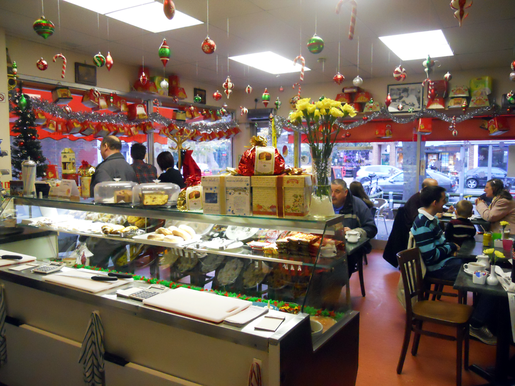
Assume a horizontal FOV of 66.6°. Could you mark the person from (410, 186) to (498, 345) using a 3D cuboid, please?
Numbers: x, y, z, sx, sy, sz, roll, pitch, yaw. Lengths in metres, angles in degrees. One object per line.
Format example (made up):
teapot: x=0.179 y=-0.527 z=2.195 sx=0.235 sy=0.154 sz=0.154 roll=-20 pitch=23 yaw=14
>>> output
person: x=2.215 y=0.725 z=4.437 sx=0.849 sy=1.603 sz=0.631 roll=1 pitch=9 yaw=30

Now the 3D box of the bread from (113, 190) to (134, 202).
bread: x=-1.144 y=0.025 z=3.339 sx=0.108 sy=0.081 sz=0.107 roll=2 pitch=4 yaw=-7

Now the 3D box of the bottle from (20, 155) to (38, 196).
bottle: x=-2.379 y=-0.176 z=4.065 sx=0.137 sy=0.342 sz=0.525 roll=-5 pitch=13 yaw=-30

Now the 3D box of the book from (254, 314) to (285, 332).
book: x=0.074 y=0.830 z=2.505 sx=0.171 sy=0.033 sz=0.168 roll=5 pitch=12 yaw=16

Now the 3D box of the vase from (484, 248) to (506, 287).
vase: x=2.105 y=0.666 z=3.500 sx=0.151 sy=0.302 sz=0.128 roll=4 pitch=-17 yaw=25

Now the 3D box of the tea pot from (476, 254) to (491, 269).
tea pot: x=2.189 y=0.658 z=3.795 sx=0.150 sy=0.150 sz=0.113 roll=3 pitch=1 yaw=29

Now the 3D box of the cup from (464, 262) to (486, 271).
cup: x=2.013 y=0.674 z=3.613 sx=0.124 sy=0.052 sz=0.101 roll=-4 pitch=2 yaw=13

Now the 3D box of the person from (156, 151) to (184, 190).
person: x=-1.300 y=-0.360 z=5.843 sx=0.372 sy=0.492 sz=0.737 roll=-1 pitch=12 yaw=-14

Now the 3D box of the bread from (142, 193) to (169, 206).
bread: x=-0.829 y=0.043 z=3.161 sx=0.145 sy=0.049 sz=0.108 roll=4 pitch=3 yaw=21

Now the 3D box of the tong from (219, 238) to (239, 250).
tong: x=-0.224 y=0.386 z=2.948 sx=0.124 sy=0.072 sz=0.029 roll=-3 pitch=-23 yaw=19

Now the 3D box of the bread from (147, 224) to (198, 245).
bread: x=-0.674 y=0.329 z=3.135 sx=0.239 sy=0.073 sz=0.203 roll=1 pitch=1 yaw=43

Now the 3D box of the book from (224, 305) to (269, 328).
book: x=-0.067 y=0.803 z=2.581 sx=0.108 sy=0.028 sz=0.197 roll=8 pitch=12 yaw=32

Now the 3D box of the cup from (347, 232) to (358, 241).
cup: x=1.132 y=0.514 z=4.654 sx=0.115 sy=0.077 sz=0.089 roll=3 pitch=-4 yaw=-13

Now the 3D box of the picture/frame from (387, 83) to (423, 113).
picture/frame: x=2.887 y=-1.841 z=7.612 sx=0.758 sy=0.651 sz=0.078 roll=0 pitch=-2 yaw=27

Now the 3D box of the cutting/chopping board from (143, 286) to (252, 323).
cutting/chopping board: x=-0.429 y=0.763 z=2.722 sx=0.705 sy=0.051 sz=0.311 roll=7 pitch=12 yaw=22

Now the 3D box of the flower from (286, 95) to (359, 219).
flower: x=0.450 y=-0.271 z=2.740 sx=0.463 sy=0.667 sz=0.486 roll=18 pitch=-17 yaw=-37
